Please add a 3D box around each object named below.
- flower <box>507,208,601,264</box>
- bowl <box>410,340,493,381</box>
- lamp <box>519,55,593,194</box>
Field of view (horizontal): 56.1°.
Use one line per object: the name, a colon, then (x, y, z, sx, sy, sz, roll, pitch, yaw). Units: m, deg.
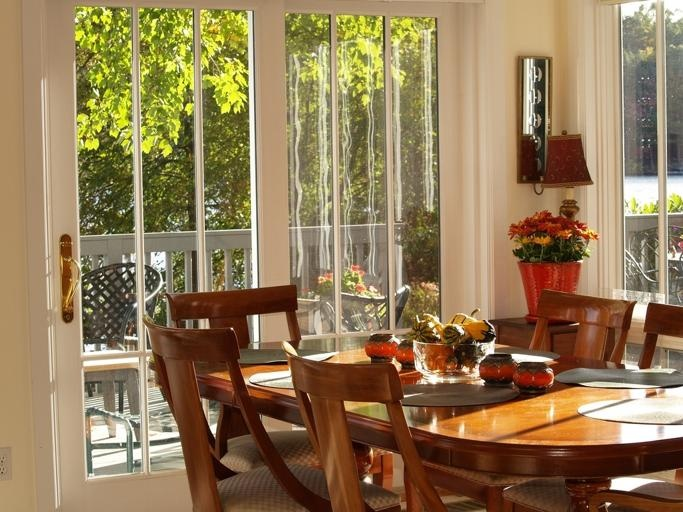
flower: (1.119, -0.071, 3.473, 0.333, 0.195, 0.344, -1, -3, 21)
bowl: (0.444, 0.348, 2.260, 0.243, 0.118, 0.265, -1, -4, 0)
lamp: (1.171, -0.778, 3.672, 0.303, 0.813, 0.379, -6, 4, -8)
